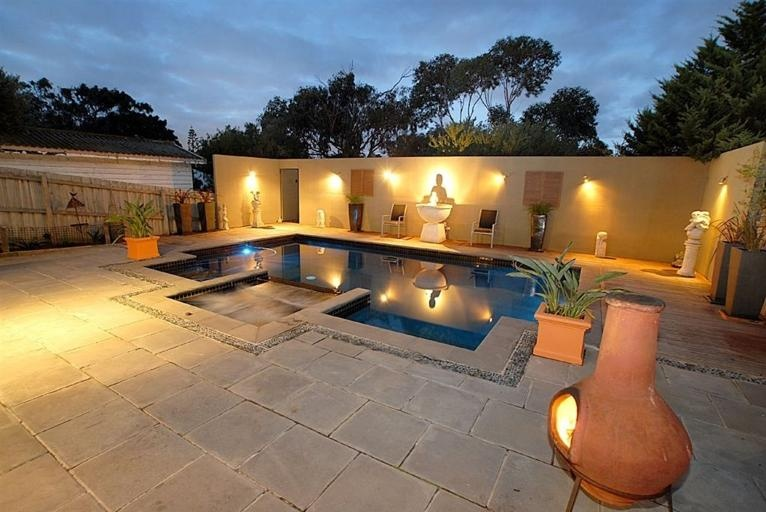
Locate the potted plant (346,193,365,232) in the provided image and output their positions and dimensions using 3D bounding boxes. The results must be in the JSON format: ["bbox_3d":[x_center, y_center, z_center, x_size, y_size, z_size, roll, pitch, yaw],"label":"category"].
[{"bbox_3d":[-0.878,-1.403,11.555,0.481,1.169,0.361,-4,13,-13],"label":"potted plant"}]

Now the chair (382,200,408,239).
[{"bbox_3d":[0.243,-1.127,10.822,0.776,1.012,0.845,3,12,18],"label":"chair"}]

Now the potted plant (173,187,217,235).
[{"bbox_3d":[-5.475,-1.293,10.435,0.970,1.399,1.518,5,8,27],"label":"potted plant"}]

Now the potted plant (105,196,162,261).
[{"bbox_3d":[-4.983,-0.494,7.217,1.128,1.065,0.857,6,15,16],"label":"potted plant"}]
